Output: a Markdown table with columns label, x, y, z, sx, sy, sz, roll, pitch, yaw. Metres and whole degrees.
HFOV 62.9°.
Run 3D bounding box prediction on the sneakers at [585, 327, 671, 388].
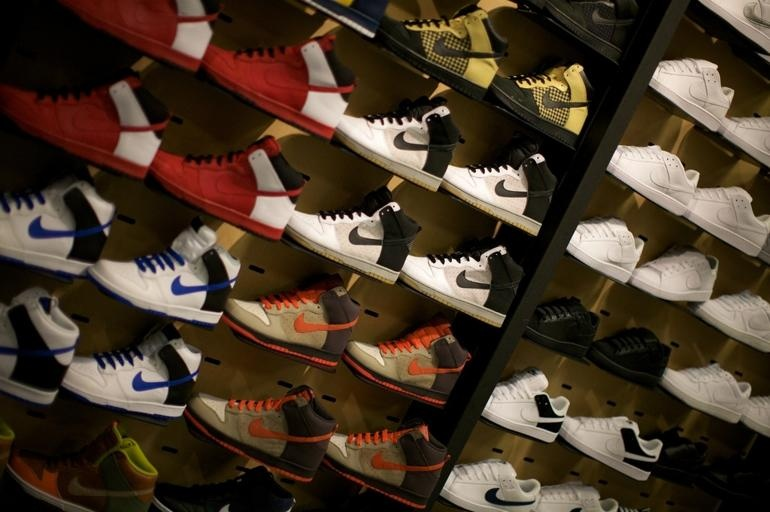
| label | x | y | z | sx | sy | sz | roll | pitch | yaw |
| --- | --- | --- | --- | --- | --- | --- | --- | --- | --- |
| sneakers | 1.246 | 0.484 | 3.170 | 0.399 | 0.260 | 0.241 | 16 | 14 | -8 |

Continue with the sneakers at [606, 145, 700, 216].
| label | x | y | z | sx | sy | sz | roll | pitch | yaw |
| --- | --- | --- | --- | --- | --- | --- | --- | --- | --- |
| sneakers | 1.272 | -0.407 | 3.015 | 0.516 | 0.236 | 0.180 | 26 | 14 | -12 |

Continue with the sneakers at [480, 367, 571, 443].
| label | x | y | z | sx | sy | sz | roll | pitch | yaw |
| --- | --- | --- | --- | --- | --- | --- | --- | --- | --- |
| sneakers | 0.673 | 0.714 | 3.070 | 0.491 | 0.237 | 0.187 | 22 | 19 | -18 |

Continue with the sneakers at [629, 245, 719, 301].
| label | x | y | z | sx | sy | sz | roll | pitch | yaw |
| --- | --- | --- | --- | --- | --- | --- | --- | --- | --- |
| sneakers | 1.464 | 0.085 | 3.170 | 0.499 | 0.264 | 0.224 | 3 | 18 | -23 |

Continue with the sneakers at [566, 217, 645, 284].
| label | x | y | z | sx | sy | sz | roll | pitch | yaw |
| --- | --- | --- | --- | --- | --- | --- | --- | --- | --- |
| sneakers | 1.045 | -0.069 | 3.033 | 0.408 | 0.225 | 0.243 | 22 | 17 | -2 |

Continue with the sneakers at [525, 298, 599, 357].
| label | x | y | z | sx | sy | sz | roll | pitch | yaw |
| --- | --- | --- | --- | --- | --- | --- | --- | --- | --- |
| sneakers | 0.850 | 0.325 | 3.052 | 0.392 | 0.247 | 0.199 | 15 | 11 | -9 |
